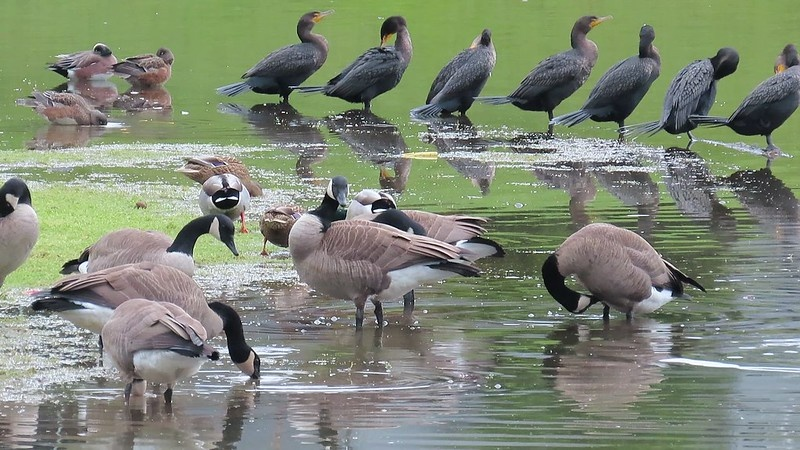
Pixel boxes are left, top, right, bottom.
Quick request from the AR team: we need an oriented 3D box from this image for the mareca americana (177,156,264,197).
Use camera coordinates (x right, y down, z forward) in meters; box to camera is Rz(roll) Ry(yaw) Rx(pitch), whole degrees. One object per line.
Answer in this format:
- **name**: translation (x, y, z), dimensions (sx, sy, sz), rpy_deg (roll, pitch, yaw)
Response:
- **mareca americana**: translation (-3.781, -1.046, 24.301), dimensions (1.902, 0.924, 0.804), rpy_deg (10, 8, -1)

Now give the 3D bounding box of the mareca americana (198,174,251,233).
- **mareca americana**: translation (-3.452, -0.538, 22.665), dimensions (0.763, 0.756, 1.206), rpy_deg (0, 10, -7)
